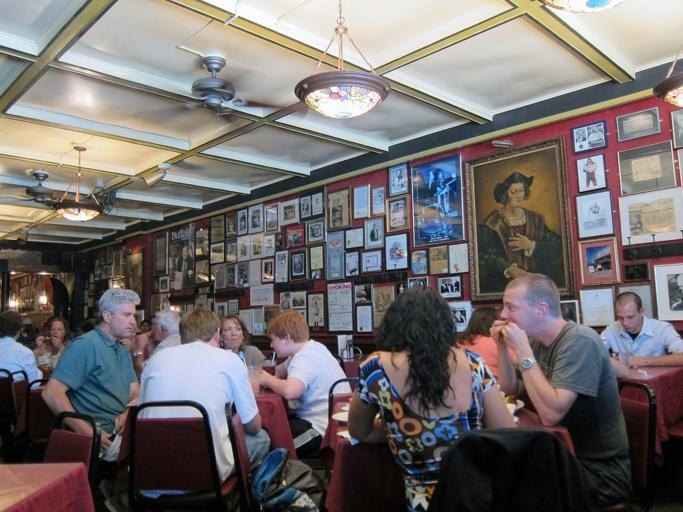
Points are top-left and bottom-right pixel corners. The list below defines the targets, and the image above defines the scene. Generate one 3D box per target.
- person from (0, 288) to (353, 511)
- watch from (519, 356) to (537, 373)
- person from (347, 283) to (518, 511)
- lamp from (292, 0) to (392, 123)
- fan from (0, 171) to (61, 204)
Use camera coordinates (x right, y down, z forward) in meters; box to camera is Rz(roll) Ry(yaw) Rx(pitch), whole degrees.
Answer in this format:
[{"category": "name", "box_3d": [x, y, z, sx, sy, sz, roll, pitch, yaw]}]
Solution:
[{"category": "person", "box_3d": [-0.926, 0.776, 3.229, 1.874, 0.815, 1.074, -1, -8, 9]}, {"category": "watch", "box_3d": [0.937, 0.552, 2.615, 0.098, 0.062, 0.091, -44, -25, 5]}, {"category": "person", "box_3d": [0.347, 0.622, 2.222, 0.746, 0.962, 0.316, -4, -7, 15]}, {"category": "lamp", "box_3d": [-0.045, -1.538, 4.076, 0.702, 0.834, 0.855, -2, -7, -5]}, {"category": "fan", "box_3d": [-4.623, -1.033, 7.478, 0.688, 0.207, 0.653, 0, 3, -32]}]
